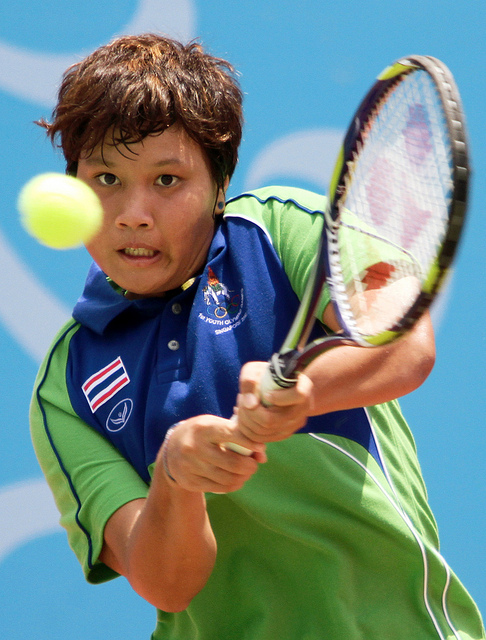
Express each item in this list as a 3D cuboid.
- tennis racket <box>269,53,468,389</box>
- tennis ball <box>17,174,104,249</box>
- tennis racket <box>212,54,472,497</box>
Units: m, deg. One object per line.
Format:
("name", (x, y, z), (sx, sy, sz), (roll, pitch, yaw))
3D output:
("tennis racket", (0.184, -0.110, 1.093), (0.239, 0.441, 0.213), (15, 24, 26))
("tennis ball", (-0.348, -0.212, 1.595), (0.103, 0.110, 0.104), (-6, 3, 0))
("tennis racket", (0.130, -0.032, 1.165), (0.183, 0.616, 0.063), (39, 42, 25))
